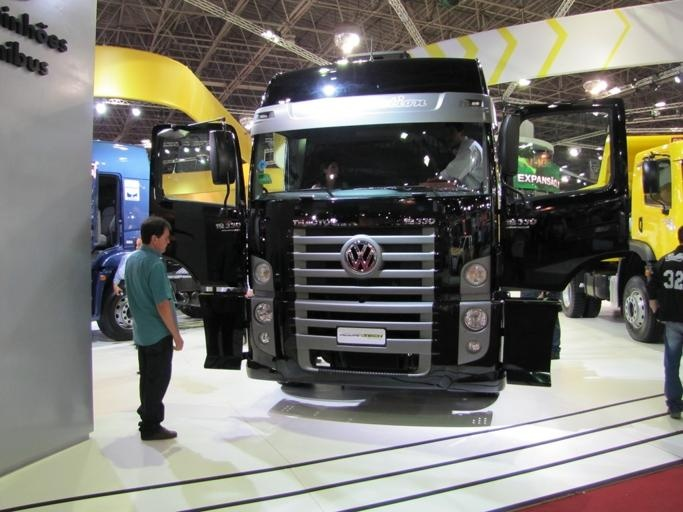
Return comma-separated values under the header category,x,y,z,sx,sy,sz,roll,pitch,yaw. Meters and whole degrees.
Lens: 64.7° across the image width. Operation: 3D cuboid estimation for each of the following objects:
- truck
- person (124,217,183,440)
category,x,y,z,sx,sy,sz,roll,pitch,yaw
truck,1.105,-0.386,7.468,6.493,3.125,5.660,0,0,14
person,-1.678,0.662,4.861,0.411,1.992,0.525,-5,9,-22
